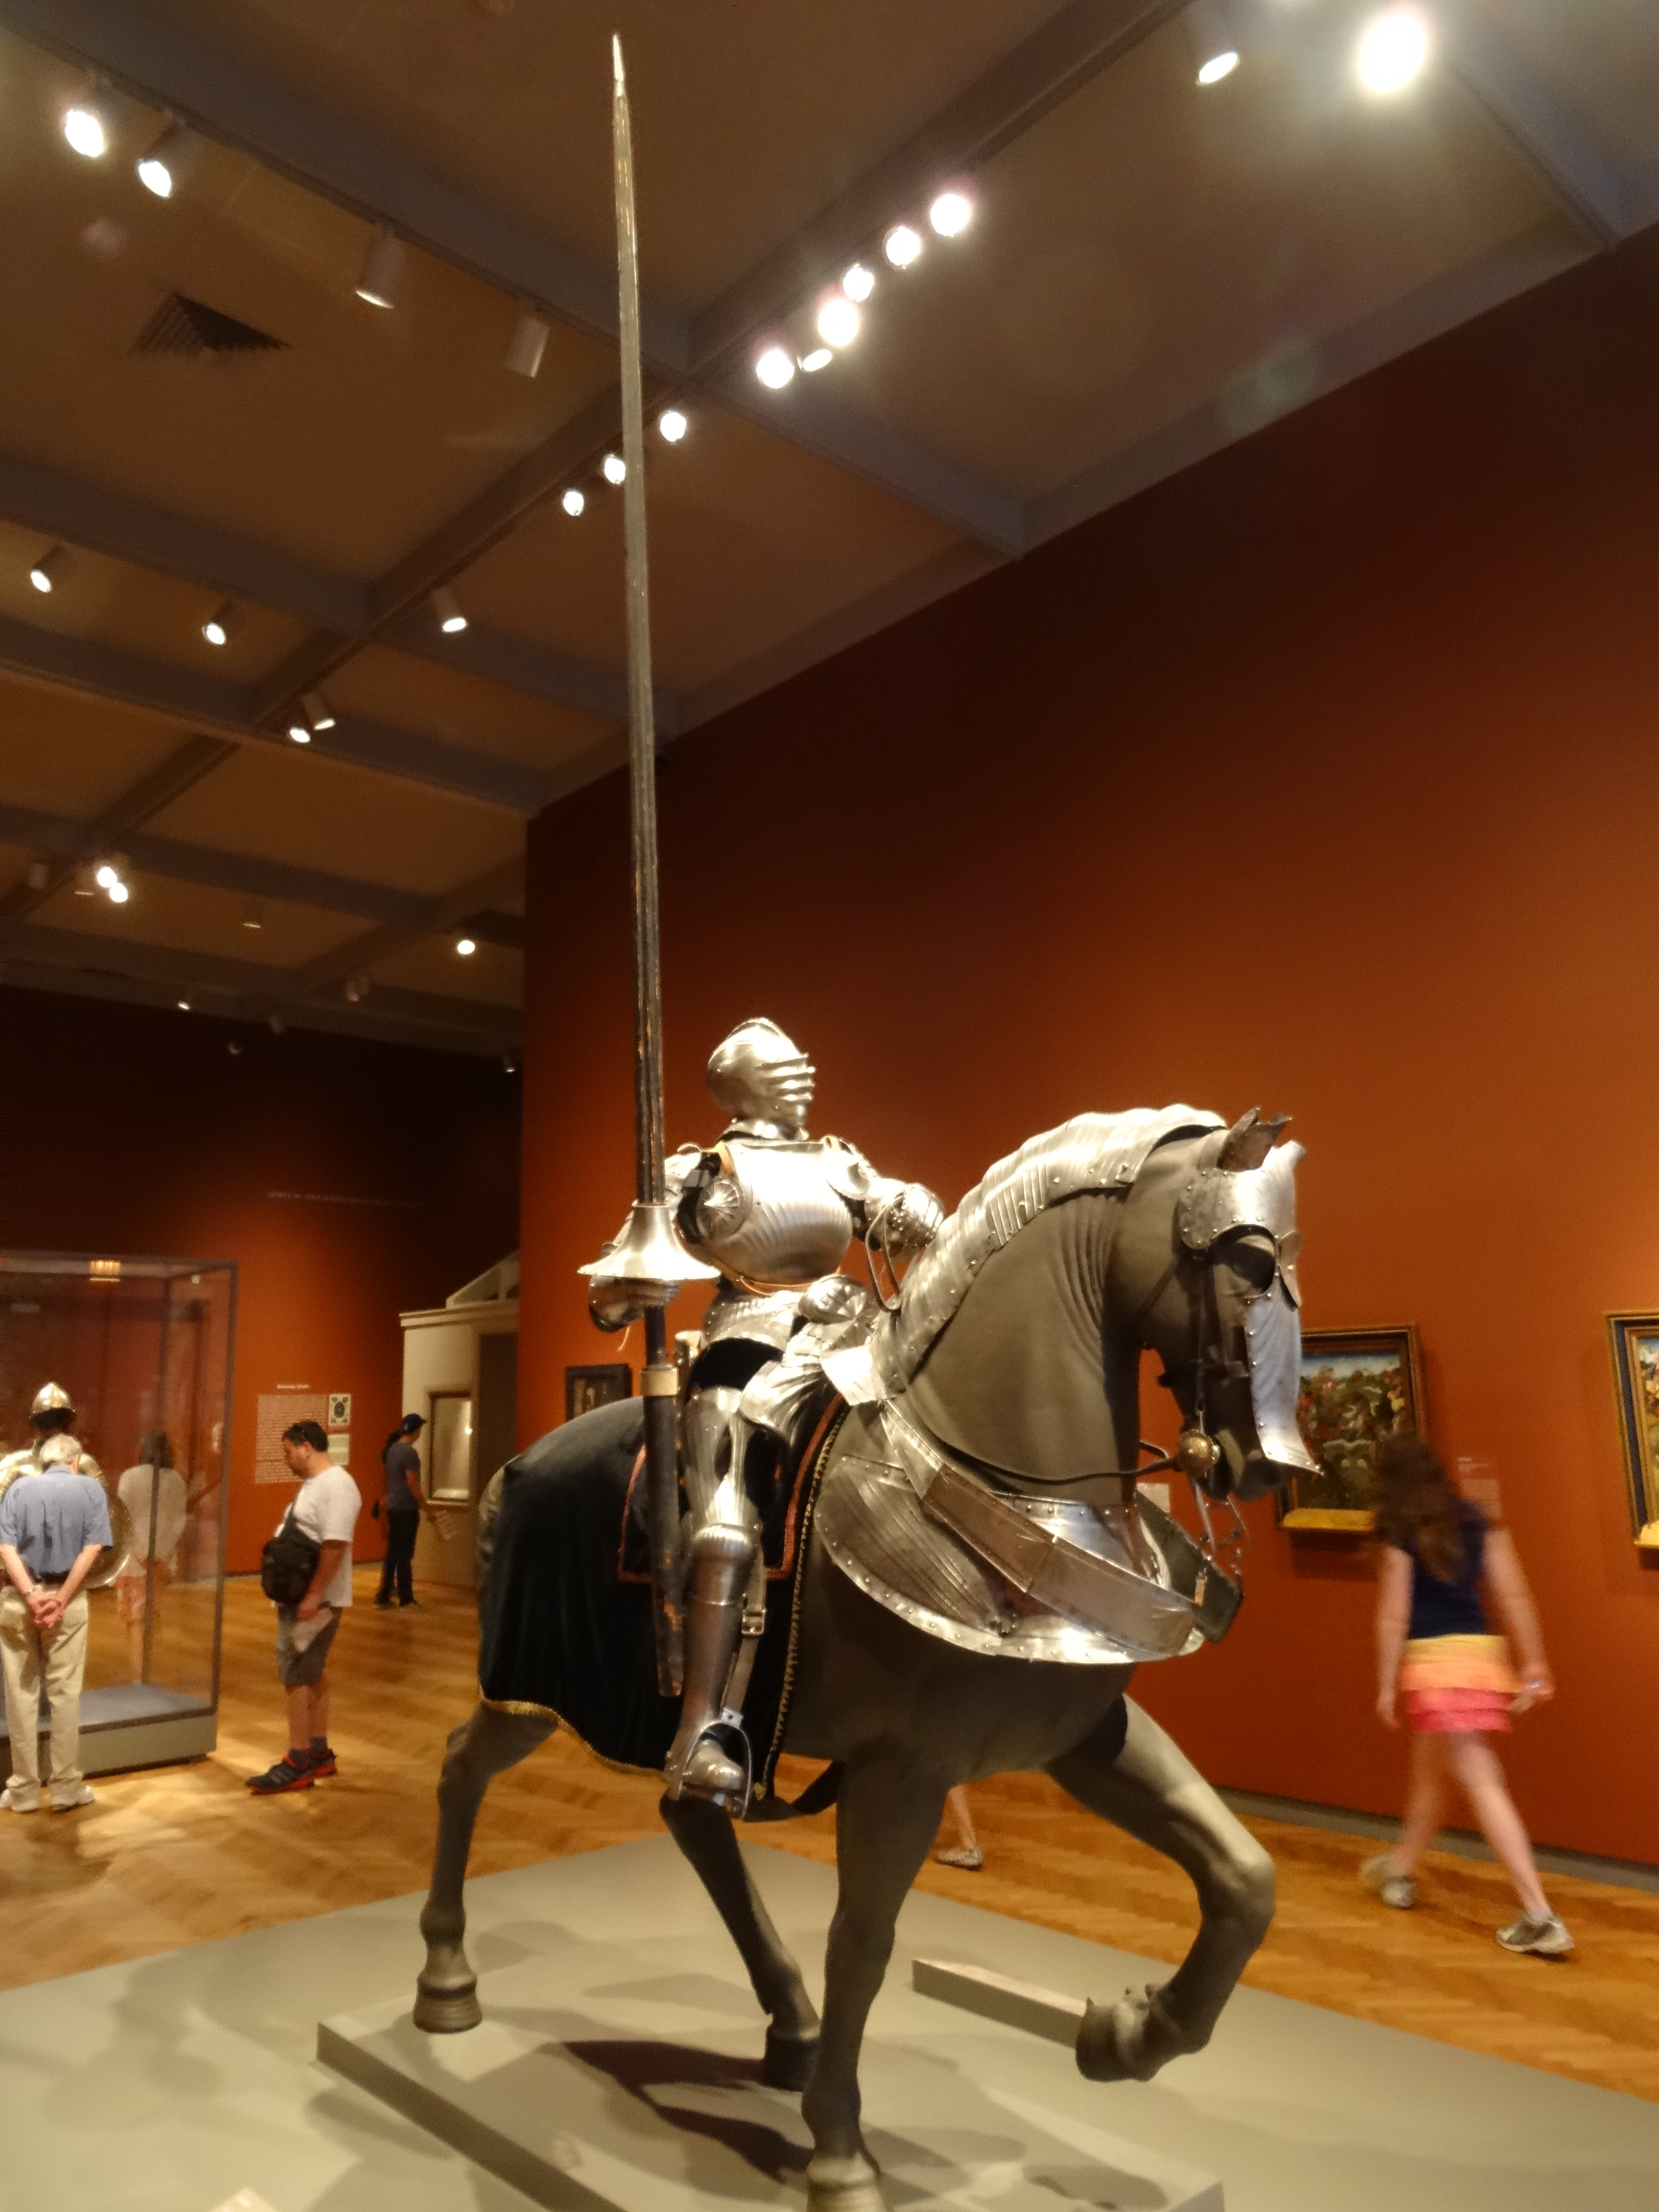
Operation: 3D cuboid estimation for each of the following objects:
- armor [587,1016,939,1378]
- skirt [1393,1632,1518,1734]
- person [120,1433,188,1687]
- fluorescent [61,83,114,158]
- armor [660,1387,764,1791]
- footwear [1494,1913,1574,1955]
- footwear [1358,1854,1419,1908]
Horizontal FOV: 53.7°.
[{"bbox_3d":[-0.138,0.155,3.130,0.539,0.693,0.459,11,-5,-44],"label":"armor"},{"bbox_3d":[1.683,1.508,4.356,0.287,0.227,0.285,7,-16,-20],"label":"skirt"},{"bbox_3d":[-2.904,1.866,7.061,0.275,0.891,0.251,0,-9,-11],"label":"person"},{"bbox_3d":[-2.086,-2.734,4.608,0.118,0.125,0.202,2,-9,-21],"label":"fluorescent"},{"bbox_3d":[-0.170,0.729,2.476,0.171,0.526,0.173,6,-5,-22],"label":"armor"},{"bbox_3d":[1.809,2.118,4.217,0.082,0.091,0.198,5,-7,-40],"label":"footwear"},{"bbox_3d":[1.591,2.188,4.643,0.090,0.074,0.185,2,10,-10],"label":"footwear"}]
